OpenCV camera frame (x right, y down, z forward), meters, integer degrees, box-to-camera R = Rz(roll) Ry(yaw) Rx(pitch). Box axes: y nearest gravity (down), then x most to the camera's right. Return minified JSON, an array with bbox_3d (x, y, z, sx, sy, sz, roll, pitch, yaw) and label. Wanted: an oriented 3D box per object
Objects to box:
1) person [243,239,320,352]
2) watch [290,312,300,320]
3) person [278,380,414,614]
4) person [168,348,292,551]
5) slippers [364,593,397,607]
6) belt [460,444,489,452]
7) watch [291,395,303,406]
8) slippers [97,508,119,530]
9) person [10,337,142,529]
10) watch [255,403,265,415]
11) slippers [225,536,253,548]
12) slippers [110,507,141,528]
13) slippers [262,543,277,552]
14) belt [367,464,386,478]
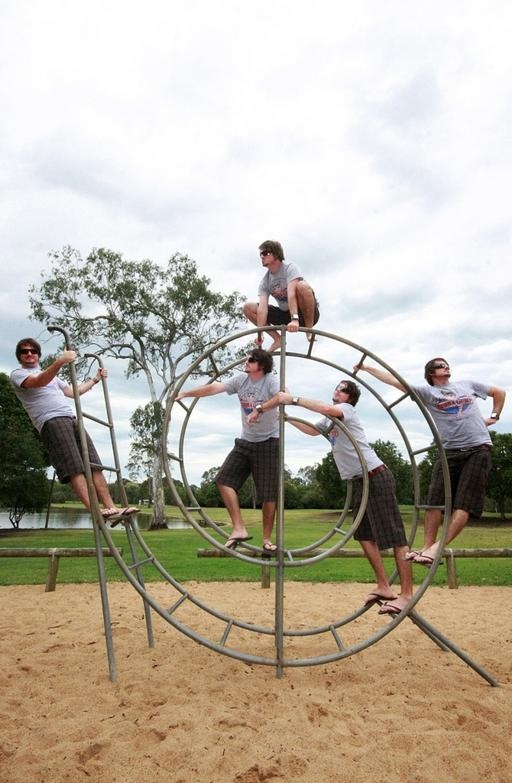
[{"bbox_3d":[0.237,-0.742,4.785,0.473,0.802,0.610,8,-12,-43],"label":"person"},{"bbox_3d":[0.269,-0.511,4.295,0.060,0.043,0.066,-6,-9,29],"label":"watch"},{"bbox_3d":[0.661,0.762,4.210,0.726,1.498,0.849,-2,0,11],"label":"person"},{"bbox_3d":[-0.100,0.507,4.566,0.574,1.513,0.867,-3,0,2],"label":"person"},{"bbox_3d":[0.853,1.424,4.227,0.223,0.062,0.109,9,-23,-16],"label":"slippers"},{"bbox_3d":[1.564,0.399,4.404,0.182,0.046,0.049,-3,0,6],"label":"belt"},{"bbox_3d":[0.257,0.064,3.851,0.087,0.096,0.064,7,7,3],"label":"watch"},{"bbox_3d":[-0.996,0.856,4.187,0.078,0.092,0.235,1,-18,-8],"label":"slippers"},{"bbox_3d":[-1.306,0.284,4.257,0.654,1.334,0.769,-3,0,-30],"label":"person"},{"bbox_3d":[0.024,0.130,4.206,0.048,0.070,0.075,13,18,23],"label":"watch"},{"bbox_3d":[-0.087,1.086,4.485,0.248,0.075,0.097,5,-14,-28],"label":"slippers"},{"bbox_3d":[-0.908,0.878,4.197,0.116,0.077,0.285,-7,-17,-40],"label":"slippers"},{"bbox_3d":[0.095,1.137,4.508,0.077,0.047,0.136,0,-20,-2],"label":"slippers"},{"bbox_3d":[0.836,0.546,4.258,0.080,0.027,0.106,2,-47,-10],"label":"belt"}]
